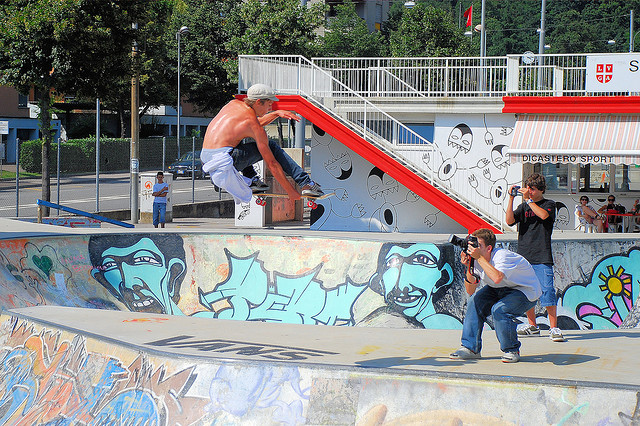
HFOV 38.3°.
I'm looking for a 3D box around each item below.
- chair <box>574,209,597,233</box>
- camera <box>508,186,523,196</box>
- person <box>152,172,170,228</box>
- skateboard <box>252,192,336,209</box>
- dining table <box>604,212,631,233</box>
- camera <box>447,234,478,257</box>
[{"bbox_3d":[7.910,0.206,27.389,0.571,0.831,0.608,-6,12,-4],"label":"chair"},{"bbox_3d":[4.006,-0.443,19.114,0.226,0.248,0.094,13,4,-6],"label":"camera"},{"bbox_3d":[-5.012,-0.431,28.729,0.475,1.706,0.546,-2,6,-10],"label":"person"},{"bbox_3d":[-0.793,-0.359,25.759,1.733,0.347,0.367,5,9,11],"label":"skateboard"},{"bbox_3d":[8.834,0.261,27.256,0.769,0.576,0.634,-3,6,-10],"label":"dining table"},{"bbox_3d":[2.735,0.561,17.923,0.398,0.265,0.400,24,-10,-7],"label":"camera"}]
